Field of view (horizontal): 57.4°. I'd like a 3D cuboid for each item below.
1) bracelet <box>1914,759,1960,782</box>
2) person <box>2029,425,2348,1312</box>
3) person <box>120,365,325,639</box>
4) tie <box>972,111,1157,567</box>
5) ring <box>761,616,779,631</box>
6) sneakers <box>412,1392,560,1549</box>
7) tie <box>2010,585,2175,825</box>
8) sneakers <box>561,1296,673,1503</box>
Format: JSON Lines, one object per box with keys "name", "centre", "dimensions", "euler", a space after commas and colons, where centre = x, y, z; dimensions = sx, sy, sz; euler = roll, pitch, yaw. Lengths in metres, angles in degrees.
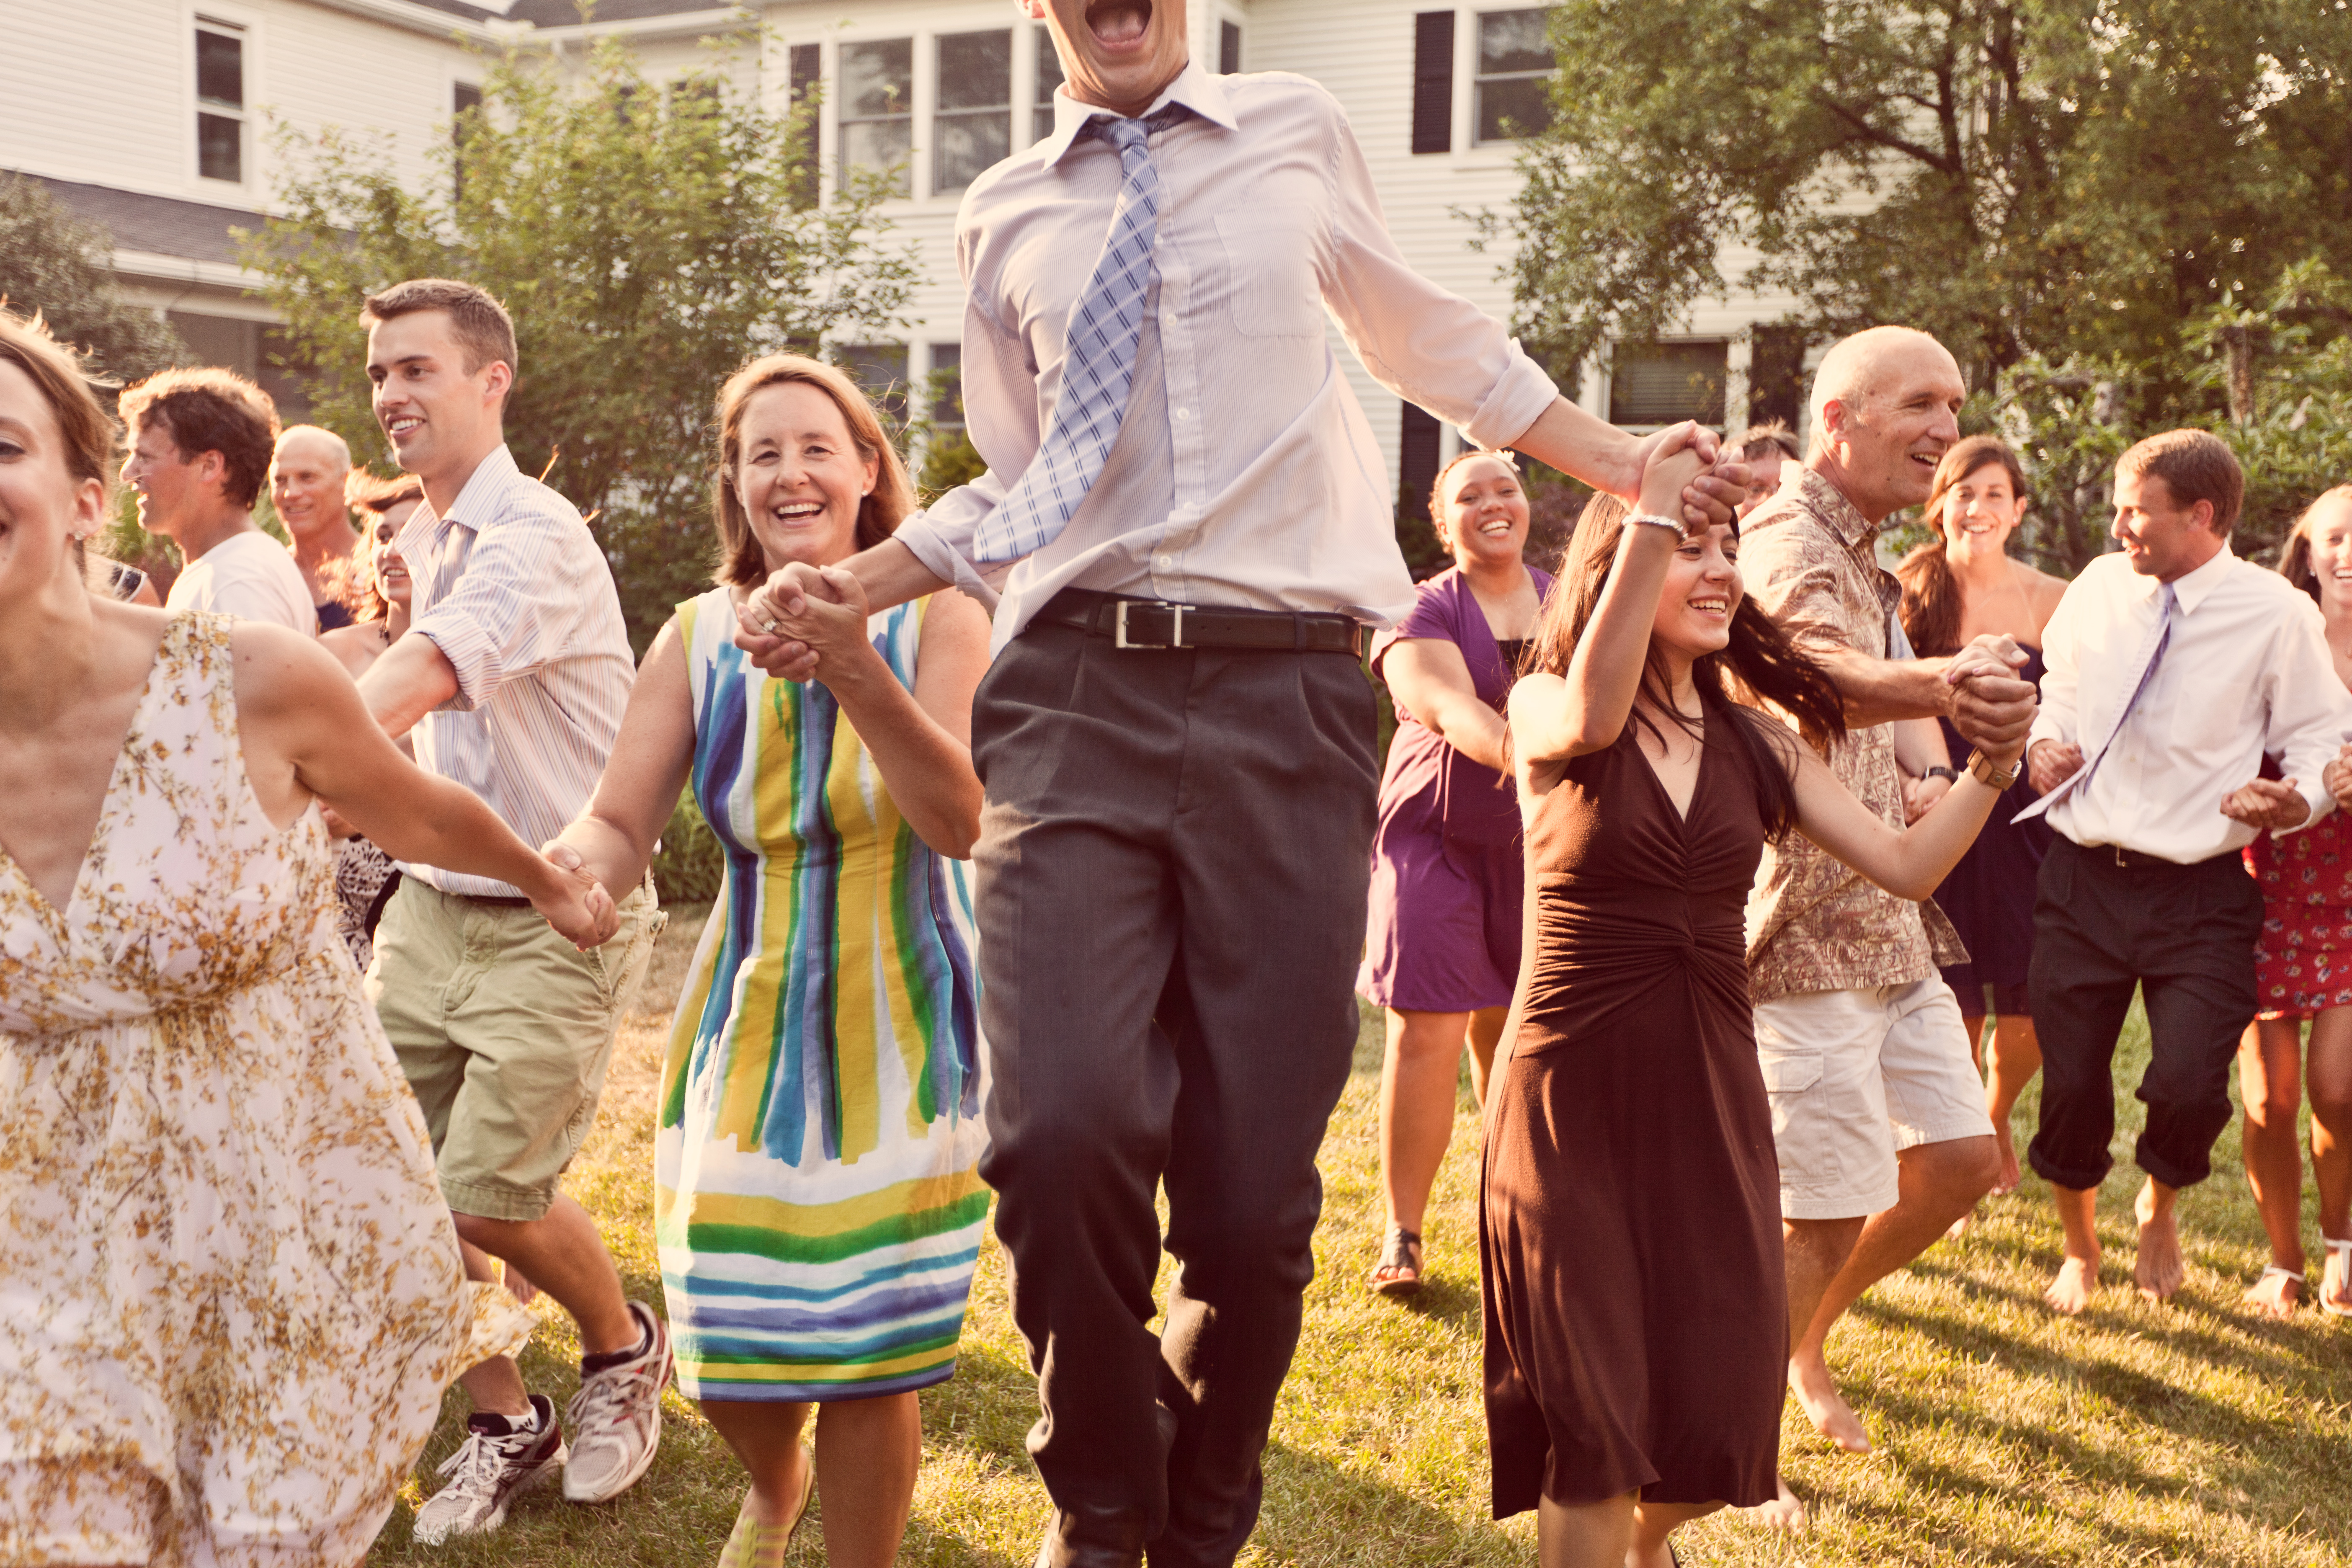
{"name": "bracelet", "centre": [2.504, -0.039, 7.038], "dimensions": [0.114, 0.081, 0.114], "euler": [1, -18, 1]}
{"name": "person", "centre": [3.543, 0.328, 7.683], "dimensions": [0.983, 3.116, 0.793], "euler": [7, 11, 21]}
{"name": "person", "centre": [-3.220, -0.856, 7.250], "dimensions": [0.590, 1.009, 1.027], "euler": [4, -7, -12]}
{"name": "tie", "centre": [-0.185, -0.924, 4.843], "dimensions": [0.225, 1.281, 0.175], "euler": [16, -8, 9]}
{"name": "ring", "centre": [-0.916, -0.362, 4.822], "dimensions": [0.052, 0.038, 0.014], "euler": [19, 22, 41]}
{"name": "sneakers", "centre": [-1.910, 1.909, 5.949], "dimensions": [0.166, 0.212, 0.466], "euler": [-2, 12, 19]}
{"name": "tie", "centre": [3.263, -0.265, 7.590], "dimensions": [0.148, 0.992, 0.145], "euler": [24, -17, 4]}
{"name": "sneakers", "centre": [-1.591, 1.763, 6.130], "dimensions": [0.185, 0.502, 0.200], "euler": [-9, -38, 13]}
